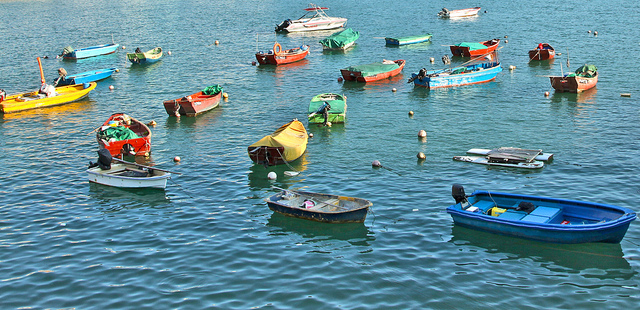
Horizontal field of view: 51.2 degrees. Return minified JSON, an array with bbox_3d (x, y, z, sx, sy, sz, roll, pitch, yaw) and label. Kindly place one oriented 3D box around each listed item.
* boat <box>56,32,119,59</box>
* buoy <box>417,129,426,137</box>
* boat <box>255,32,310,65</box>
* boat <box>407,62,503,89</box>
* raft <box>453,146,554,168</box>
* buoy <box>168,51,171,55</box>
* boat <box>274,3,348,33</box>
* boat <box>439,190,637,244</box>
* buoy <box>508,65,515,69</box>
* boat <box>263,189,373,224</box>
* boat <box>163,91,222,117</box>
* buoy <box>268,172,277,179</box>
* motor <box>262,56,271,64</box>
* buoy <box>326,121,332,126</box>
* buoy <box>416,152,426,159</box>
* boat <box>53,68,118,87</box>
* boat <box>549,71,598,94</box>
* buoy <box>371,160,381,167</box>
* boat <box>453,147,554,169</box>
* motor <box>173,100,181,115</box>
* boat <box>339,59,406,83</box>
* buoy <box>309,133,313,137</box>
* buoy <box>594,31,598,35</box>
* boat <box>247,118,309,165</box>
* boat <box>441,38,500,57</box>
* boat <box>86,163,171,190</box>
[{"bbox_3d":[-45.144,-20.821,129.426,15.681,4.394,5.082,0,-1,0],"label":"boat"},{"bbox_3d":[14.724,-3.153,96.607,1.276,0.771,1.388,4,28,13],"label":"buoy"},{"bbox_3d":[-6.373,-18.539,125.229,4.114,3.898,11.274,18,24,40],"label":"boat"},{"bbox_3d":[23.079,-13.569,112.839,14.367,3.047,3.183,-8,29,-11],"label":"boat"},{"bbox_3d":[26.716,0.304,93.070,9.888,3.009,8.919,1,1,28],"label":"raft"},{"bbox_3d":[-29.401,-19.874,129.793,0.942,0.389,0.793,4,24,12],"label":"buoy"},{"bbox_3d":[-1.647,-31.744,152.096,13.866,5.449,20.324,0,25,6],"label":"boat"},{"bbox_3d":[26.802,9.237,82.845,22.112,4.873,7.811,8,30,20],"label":"boat"},{"bbox_3d":[34.163,-15.675,119.185,1.121,0.637,1.816,1,7,9],"label":"buoy"},{"bbox_3d":[-0.077,6.706,84.148,11.943,3.160,2.797,3,30,12],"label":"boat"},{"bbox_3d":[-19.624,-8.182,106.619,5.969,2.430,10.291,-2,12,26],"label":"boat"},{"bbox_3d":[-6.480,2.762,90.059,1.142,0.681,0.951,-2,28,2],"label":"buoy"},{"bbox_3d":[-9.919,-17.434,122.581,1.316,1.614,0.374,-2,33,3],"label":"motor"},{"bbox_3d":[1.346,-4.720,100.132,0.511,0.593,0.444,0,30,7],"label":"buoy"},{"bbox_3d":[13.938,0.097,92.003,1.066,0.688,0.930,10,31,23],"label":"buoy"},{"bbox_3d":[-40.809,-13.381,114.968,12.259,3.082,3.148,-12,52,-28],"label":"boat"},{"bbox_3d":[42.932,-11.712,110.932,10.137,2.084,5.436,-6,4,-44],"label":"boat"},{"bbox_3d":[7.644,1.140,90.942,1.035,0.621,1.182,12,30,27],"label":"buoy"},{"bbox_3d":[25.899,0.425,91.254,11.280,1.641,3.382,2,27,9],"label":"boat"},{"bbox_3d":[-22.152,-7.272,102.750,1.174,2.120,0.493,-25,38,-29],"label":"motor"},{"bbox_3d":[9.197,-14.425,116.000,10.342,2.506,3.857,-13,29,-21],"label":"boat"},{"bbox_3d":[-1.378,-2.832,97.473,0.403,0.464,0.729,2,28,11],"label":"buoy"},{"bbox_3d":[56.322,-25.038,136.704,0.702,0.675,0.700,-8,-27,45],"label":"buoy"},{"bbox_3d":[-6.512,-2.159,93.372,14.661,5.877,6.559,-2,-2,44],"label":"boat"},{"bbox_3d":[29.100,-20.169,127.194,8.416,2.538,3.036,-2,28,2],"label":"boat"},{"bbox_3d":[-25.146,2.888,89.165,11.445,2.572,3.438,3,29,13],"label":"boat"}]
